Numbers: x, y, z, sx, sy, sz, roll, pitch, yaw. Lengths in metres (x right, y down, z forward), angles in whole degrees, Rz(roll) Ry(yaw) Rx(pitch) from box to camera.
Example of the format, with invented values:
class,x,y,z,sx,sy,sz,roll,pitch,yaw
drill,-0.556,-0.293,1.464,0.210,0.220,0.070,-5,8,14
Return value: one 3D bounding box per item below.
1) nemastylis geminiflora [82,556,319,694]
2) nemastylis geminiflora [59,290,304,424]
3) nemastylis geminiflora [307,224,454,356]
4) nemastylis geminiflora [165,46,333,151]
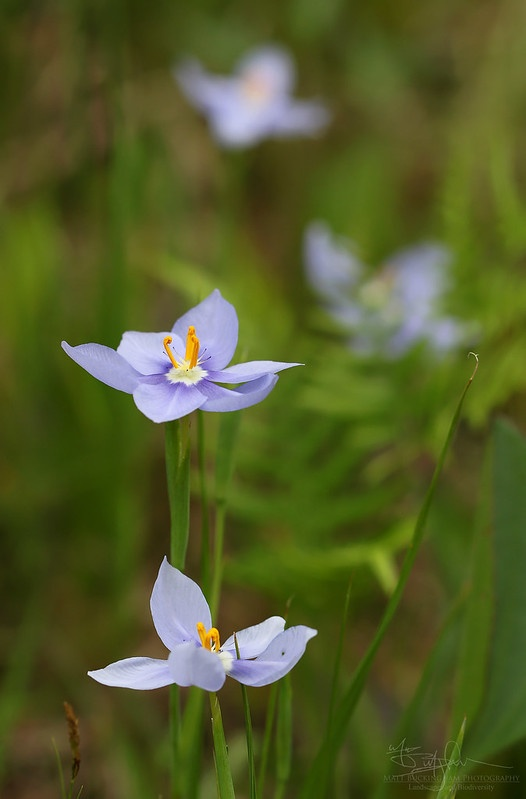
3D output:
class,x,y,z,sx,sy,sz,roll,pitch,yaw
nemastylis geminiflora,-0.028,0.108,0.384,0.101,0.062,0.065,-7,14,-31
nemastylis geminiflora,-0.040,-0.016,0.441,0.091,0.035,0.095,1,21,-7
nemastylis geminiflora,0.102,-0.077,0.706,0.117,0.119,0.047,16,8,30
nemastylis geminiflora,-0.005,-0.257,0.703,0.110,0.087,0.042,-34,-15,-32
